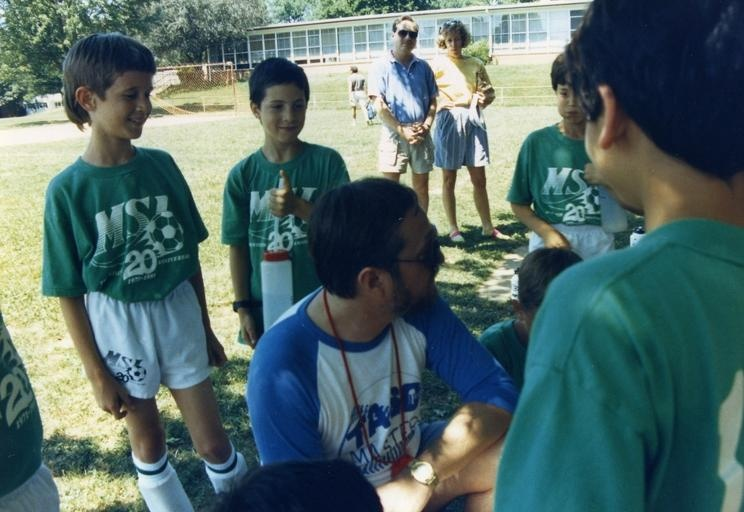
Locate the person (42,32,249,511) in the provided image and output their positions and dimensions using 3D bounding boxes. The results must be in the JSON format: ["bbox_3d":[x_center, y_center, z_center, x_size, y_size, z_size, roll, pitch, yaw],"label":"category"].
[{"bbox_3d":[-1.121,0.150,3.117,0.781,2.330,0.761,-8,17,-15],"label":"person"}]

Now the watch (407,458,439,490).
[{"bbox_3d":[0.194,0.806,2.453,0.069,0.101,0.109,-32,64,-3],"label":"watch"}]

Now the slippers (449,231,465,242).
[{"bbox_3d":[0.941,-0.208,7.254,0.073,0.083,0.197,-6,4,-8],"label":"slippers"}]

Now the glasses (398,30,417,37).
[{"bbox_3d":[0.386,-2.328,6.777,0.115,0.081,0.294,11,23,37],"label":"glasses"}]

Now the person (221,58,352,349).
[{"bbox_3d":[-0.484,-0.104,3.529,0.716,1.866,0.710,-1,15,-5],"label":"person"}]

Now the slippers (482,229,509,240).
[{"bbox_3d":[1.405,-0.247,7.369,0.305,0.135,0.118,2,14,14],"label":"slippers"}]

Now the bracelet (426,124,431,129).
[{"bbox_3d":[0.589,-1.373,6.857,0.037,0.030,0.040,2,24,-1],"label":"bracelet"}]
